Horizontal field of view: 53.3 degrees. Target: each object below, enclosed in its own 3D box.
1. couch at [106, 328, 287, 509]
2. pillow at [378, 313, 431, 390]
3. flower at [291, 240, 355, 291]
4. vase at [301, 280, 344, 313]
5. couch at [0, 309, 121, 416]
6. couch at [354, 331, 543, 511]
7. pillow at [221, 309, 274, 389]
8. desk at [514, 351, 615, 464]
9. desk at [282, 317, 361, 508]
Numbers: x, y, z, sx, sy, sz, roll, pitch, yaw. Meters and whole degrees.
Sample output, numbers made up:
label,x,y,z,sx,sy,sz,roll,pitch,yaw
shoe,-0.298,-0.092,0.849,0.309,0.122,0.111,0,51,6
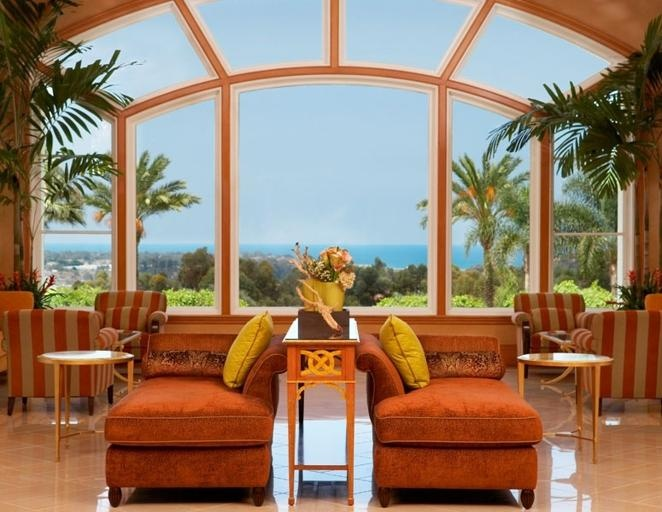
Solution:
label,x,y,z,sx,sy,sz,roll,pitch,yaw
couch,-1.017,1.148,5.080,1.105,0.866,1.200,2,-4,-1
pillow,0.595,0.707,5.421,0.396,0.630,0.823,-1,9,-2
flower,-0.057,0.075,5.291,0.431,0.348,0.415,2,4,-8
vase,-0.052,0.286,5.217,0.326,0.281,0.215,0,1,6
couch,-2.593,0.960,6.840,0.986,1.369,0.960,0,-1,0
couch,0.841,1.214,5.123,1.315,1.083,1.115,0,4,-5
pillow,-0.647,0.741,5.463,0.398,0.722,0.786,2,-2,2
desk,1.991,1.238,5.804,0.834,1.052,0.872,-5,-8,40
desk,-0.075,1.081,5.130,0.560,1.344,0.942,0,4,-1
